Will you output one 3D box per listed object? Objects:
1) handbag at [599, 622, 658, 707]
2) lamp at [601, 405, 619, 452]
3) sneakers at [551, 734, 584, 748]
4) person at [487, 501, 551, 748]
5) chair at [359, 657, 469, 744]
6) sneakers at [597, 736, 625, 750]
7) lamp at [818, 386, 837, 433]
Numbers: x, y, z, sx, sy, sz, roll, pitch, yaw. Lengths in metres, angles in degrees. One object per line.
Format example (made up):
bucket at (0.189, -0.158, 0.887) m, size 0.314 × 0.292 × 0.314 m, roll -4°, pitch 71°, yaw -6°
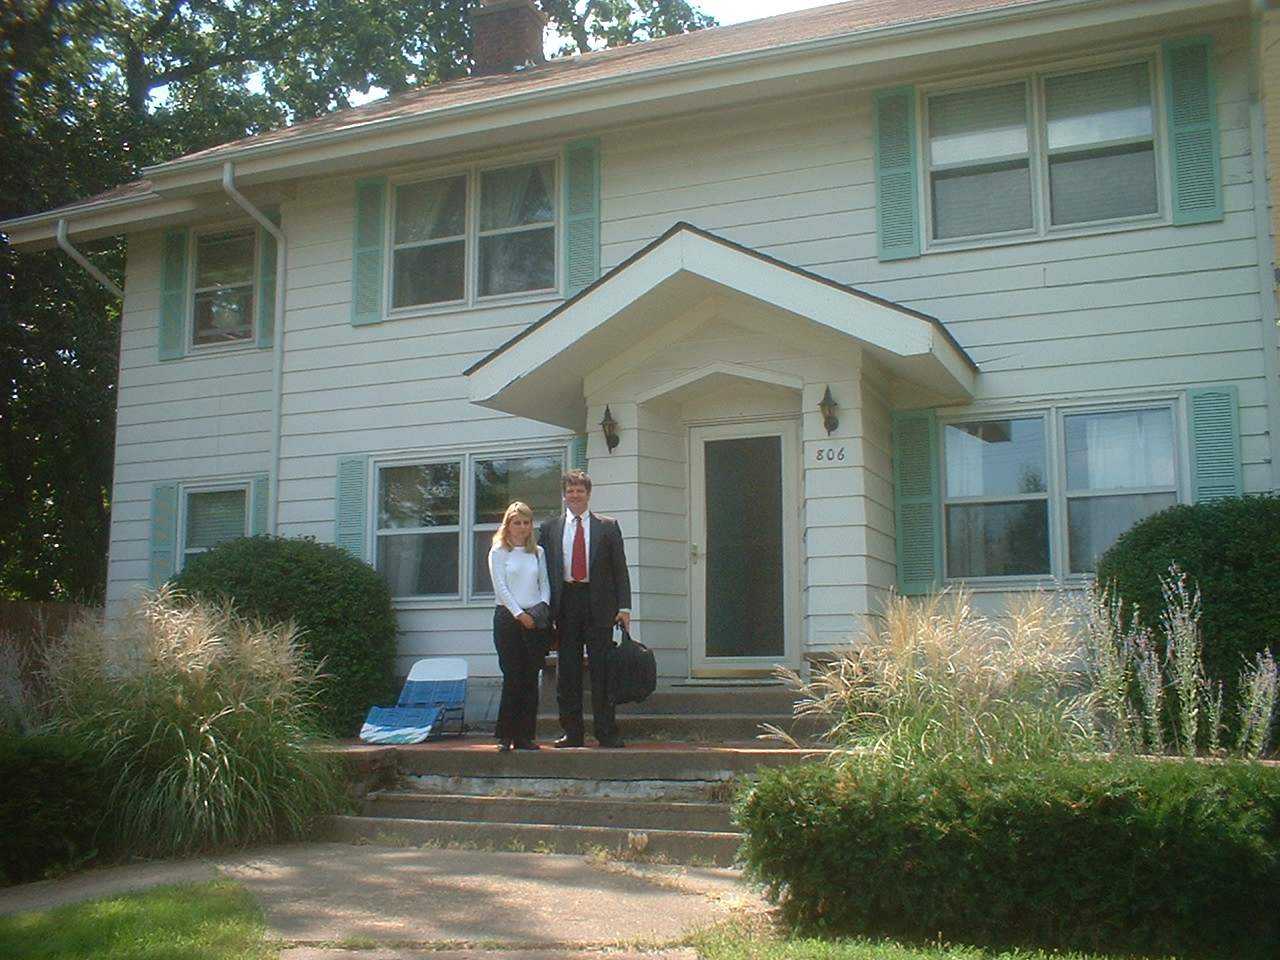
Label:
handbag at (-0.077, 1.561, 10.158) m, size 0.368 × 0.645 × 0.667 m, roll 2°, pitch -10°, yaw -2°
lamp at (-0.286, -0.500, 11.583) m, size 0.173 × 0.448 × 0.094 m, roll -1°, pitch -10°, yaw 13°
sneakers at (-0.599, 2.166, 9.977) m, size 0.261 × 0.122 × 0.093 m, roll 3°, pitch -6°, yaw 5°
person at (-1.013, 1.188, 9.966) m, size 0.467 × 2.000 × 0.381 m, roll 0°, pitch -10°, yaw 9°
chair at (-2.132, 2.198, 11.920) m, size 0.550 × 0.502 × 1.040 m, roll -5°, pitch -10°, yaw 8°
sneakers at (-0.237, 2.142, 9.868) m, size 0.207 × 0.089 × 0.250 m, roll 2°, pitch -11°, yaw -2°
lamp at (1.701, -0.639, 10.856) m, size 0.165 × 0.439 × 0.117 m, roll -1°, pitch -10°, yaw 15°
